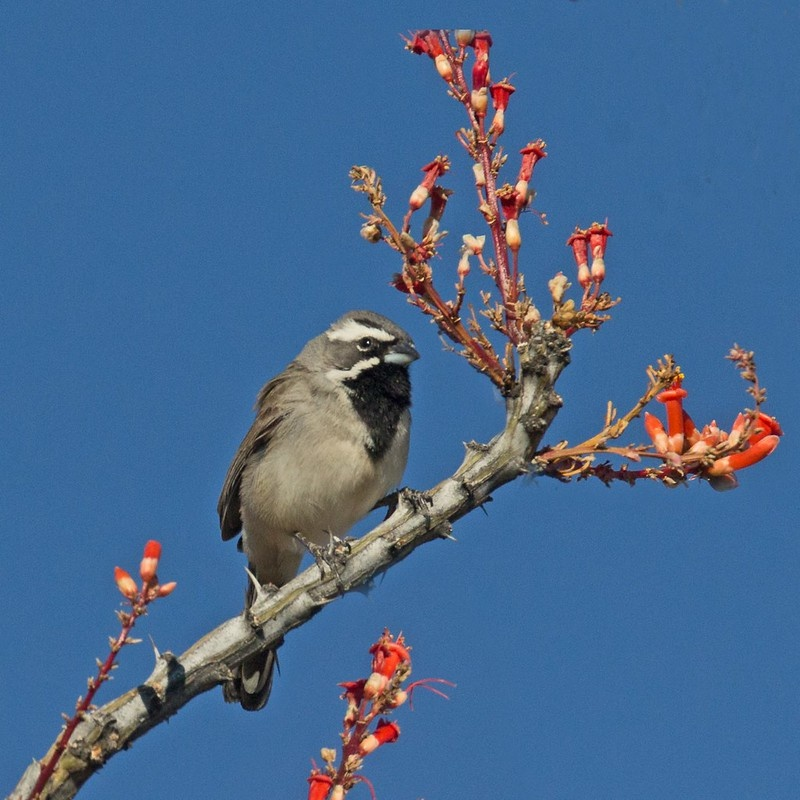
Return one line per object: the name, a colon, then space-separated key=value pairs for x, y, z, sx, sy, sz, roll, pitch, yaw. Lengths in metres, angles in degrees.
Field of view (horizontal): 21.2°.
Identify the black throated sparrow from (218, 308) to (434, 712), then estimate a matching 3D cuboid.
black throated sparrow: x=-0.365 y=0.512 z=11.061 sx=0.557 sy=1.934 sz=0.811 roll=21 pitch=11 yaw=-34
